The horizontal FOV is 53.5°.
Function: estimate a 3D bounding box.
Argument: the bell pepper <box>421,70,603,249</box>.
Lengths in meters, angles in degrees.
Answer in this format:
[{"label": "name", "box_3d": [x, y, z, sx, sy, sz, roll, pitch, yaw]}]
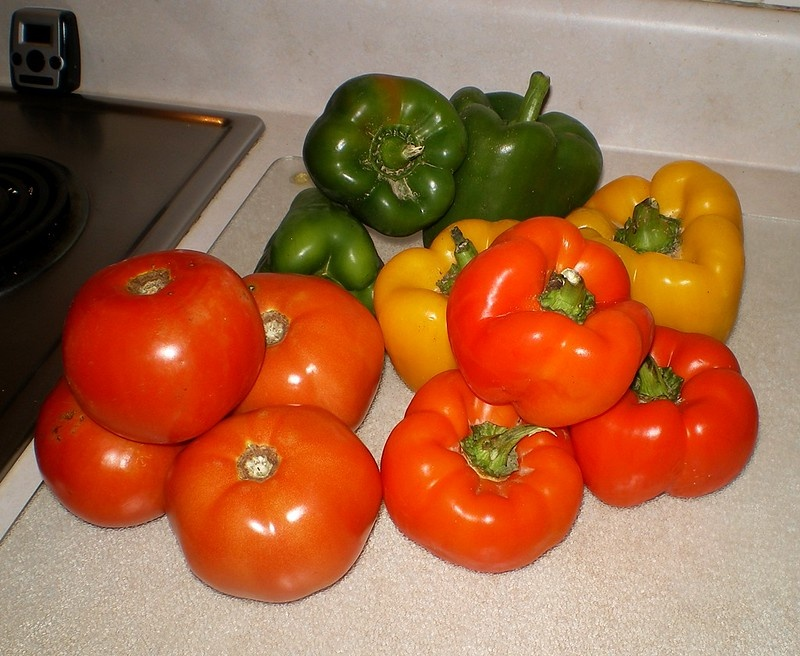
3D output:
[{"label": "bell pepper", "box_3d": [0.186, -0.295, 1.429, 0.254, 0.319, 0.284, 17, 36, -12]}]

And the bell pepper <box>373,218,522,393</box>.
[{"label": "bell pepper", "box_3d": [0.062, -0.042, 1.286, 0.215, 0.296, 0.239, -10, 45, 2]}]

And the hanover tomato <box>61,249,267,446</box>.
[{"label": "hanover tomato", "box_3d": [-0.317, 0.023, 1.051, 0.218, 0.204, 0.258, 10, 27, 4]}]

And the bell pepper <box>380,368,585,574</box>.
[{"label": "bell pepper", "box_3d": [0.094, 0.206, 1.087, 0.216, 0.240, 0.241, 3, 54, -9]}]

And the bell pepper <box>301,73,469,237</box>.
[{"label": "bell pepper", "box_3d": [-0.022, -0.288, 1.403, 0.256, 0.245, 0.273, -46, 31, -7]}]

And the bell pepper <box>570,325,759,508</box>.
[{"label": "bell pepper", "box_3d": [0.365, 0.110, 1.159, 0.215, 0.215, 0.229, -38, 13, 5]}]

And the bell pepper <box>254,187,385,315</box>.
[{"label": "bell pepper", "box_3d": [-0.112, -0.142, 1.332, 0.185, 0.178, 0.196, 28, 20, 3]}]

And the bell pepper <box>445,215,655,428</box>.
[{"label": "bell pepper", "box_3d": [0.206, -0.005, 1.094, 0.251, 0.215, 0.280, 26, 67, 16]}]
